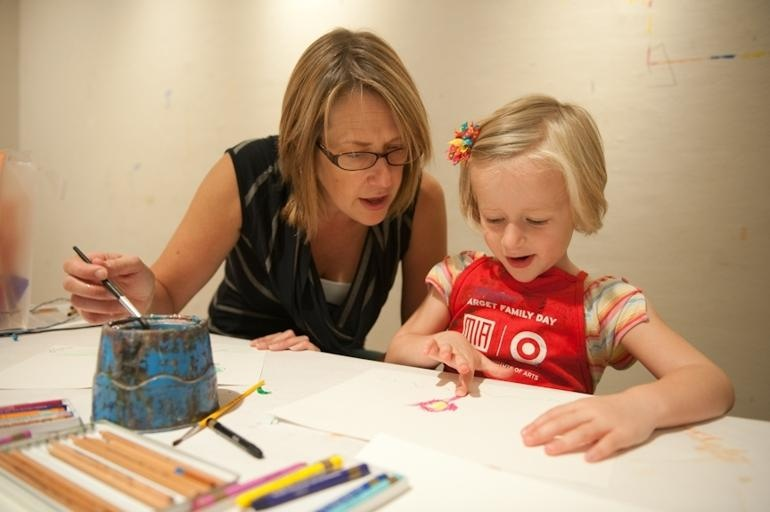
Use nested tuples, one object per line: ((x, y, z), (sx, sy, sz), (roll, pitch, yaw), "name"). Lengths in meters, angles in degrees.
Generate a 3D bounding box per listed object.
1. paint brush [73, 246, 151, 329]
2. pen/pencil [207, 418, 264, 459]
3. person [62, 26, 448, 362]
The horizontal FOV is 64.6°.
((-0.625, 0.080, 1.383), (0.413, 0.030, 0.040), (34, 44, 29), "paint brush")
((-0.276, 0.338, 1.115), (0.099, 0.016, 0.016), (23, 44, 34), "pen/pencil")
((-0.365, -0.230, 1.893), (1.061, 1.120, 0.754), (-7, 31, -34), "person")
